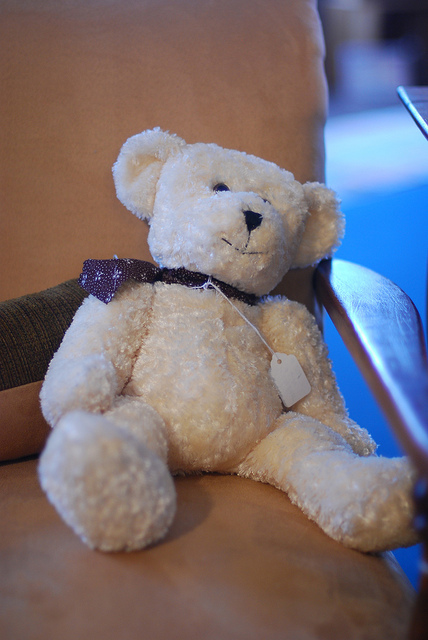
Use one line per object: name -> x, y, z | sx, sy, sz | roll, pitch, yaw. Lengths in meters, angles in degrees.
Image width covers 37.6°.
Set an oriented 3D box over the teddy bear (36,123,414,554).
teddy bear -> 0.040, -0.011, 0.810 | 0.449, 0.373, 0.478 | 9, 30, 7
